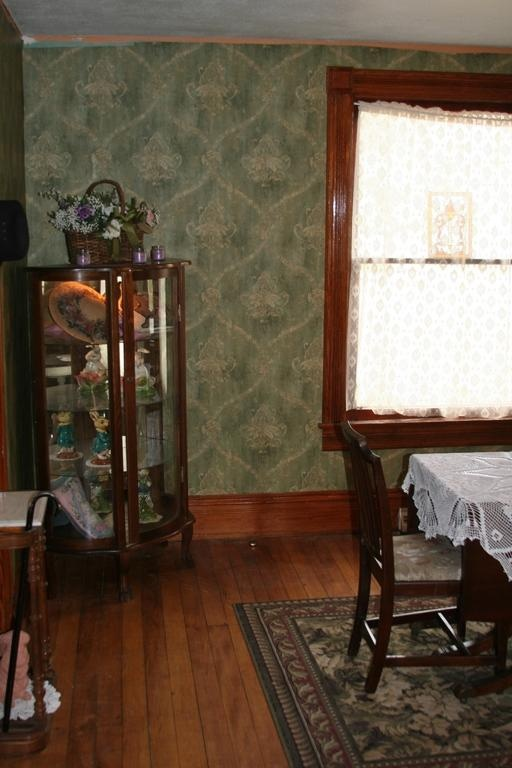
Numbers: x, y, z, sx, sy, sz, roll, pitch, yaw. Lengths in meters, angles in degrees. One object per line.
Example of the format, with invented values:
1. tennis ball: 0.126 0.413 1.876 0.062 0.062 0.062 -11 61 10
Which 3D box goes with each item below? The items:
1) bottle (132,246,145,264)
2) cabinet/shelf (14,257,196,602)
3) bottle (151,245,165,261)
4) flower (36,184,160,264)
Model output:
1. bottle: -0.513 -0.565 2.681 0.070 0.077 0.068 -4 18 -15
2. cabinet/shelf: -0.598 0.184 2.708 0.706 1.451 0.373 -2 5 -20
3. bottle: -0.439 -0.587 2.752 0.062 0.064 0.064 -1 10 0
4. flower: -0.683 -0.725 2.780 0.468 0.353 0.385 -17 35 -38
